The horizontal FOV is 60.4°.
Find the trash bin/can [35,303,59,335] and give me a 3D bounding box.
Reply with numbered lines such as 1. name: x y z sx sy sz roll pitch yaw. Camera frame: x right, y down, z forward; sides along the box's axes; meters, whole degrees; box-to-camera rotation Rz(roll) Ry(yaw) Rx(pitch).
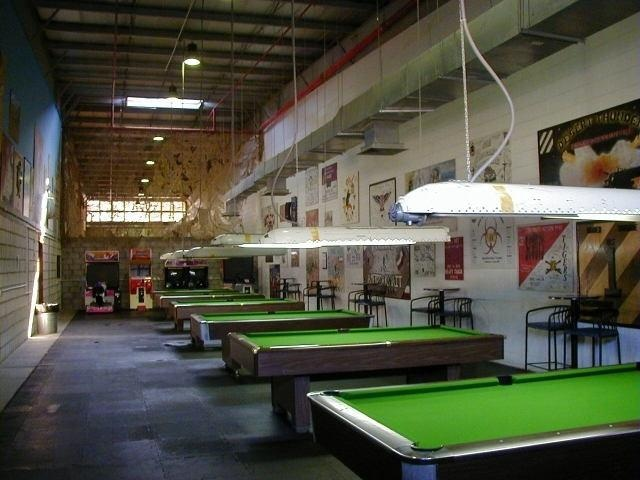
1. trash bin/can: -5.974 1.773 12.382 0.528 0.741 0.557 0 -7 -10

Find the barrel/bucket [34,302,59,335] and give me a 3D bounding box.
1. barrel/bucket: -6.074 1.772 12.399 0.575 0.823 0.542 -1 -7 0
